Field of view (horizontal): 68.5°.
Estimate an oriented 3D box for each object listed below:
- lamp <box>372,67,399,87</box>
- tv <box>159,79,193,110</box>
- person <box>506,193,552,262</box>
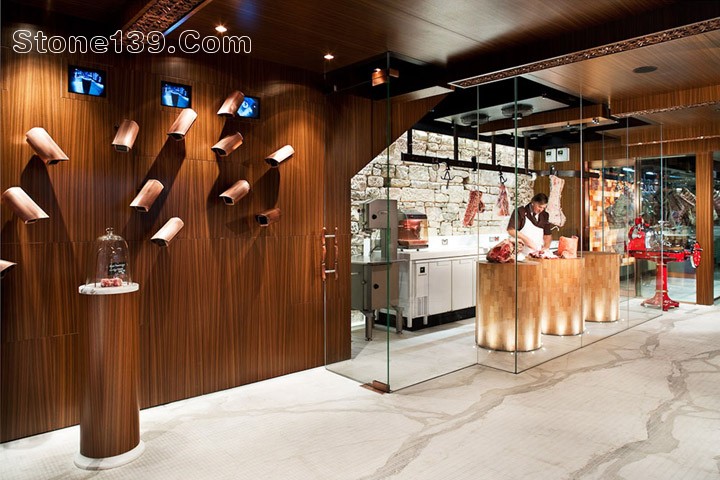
[{"bbox_3d":[0.267,-1.676,5.423,0.287,0.186,0.229,0,14,1],"label":"lamp"},{"bbox_3d":[-1.819,-1.437,5.192,0.381,0.247,0.050,1,-2,-37],"label":"tv"},{"bbox_3d":[2.025,-0.172,6.010,0.171,0.708,0.620,14,21,43],"label":"person"}]
